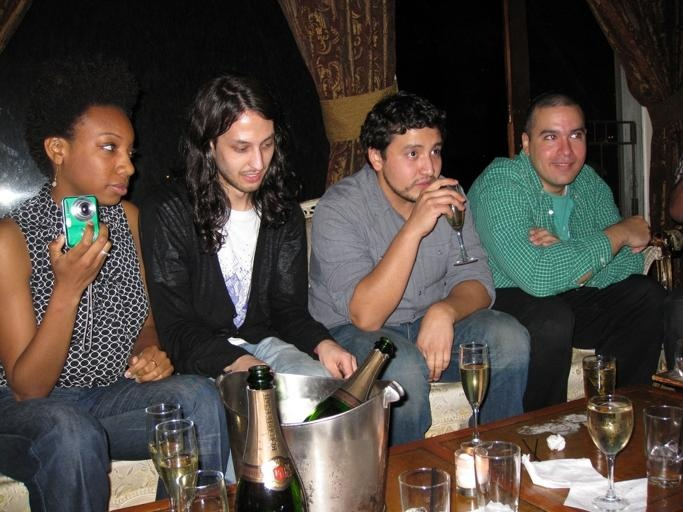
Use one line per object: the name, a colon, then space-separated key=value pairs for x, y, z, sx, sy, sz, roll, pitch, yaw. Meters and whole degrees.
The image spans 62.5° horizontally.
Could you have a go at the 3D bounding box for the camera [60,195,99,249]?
camera: x=-0.928 y=-0.124 z=2.009 sx=0.105 sy=0.212 sz=0.145 roll=4 pitch=-11 yaw=-41

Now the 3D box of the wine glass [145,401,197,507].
wine glass: x=-0.500 y=0.600 z=1.663 sx=0.135 sy=0.307 sz=0.493 roll=0 pitch=-9 yaw=-19
